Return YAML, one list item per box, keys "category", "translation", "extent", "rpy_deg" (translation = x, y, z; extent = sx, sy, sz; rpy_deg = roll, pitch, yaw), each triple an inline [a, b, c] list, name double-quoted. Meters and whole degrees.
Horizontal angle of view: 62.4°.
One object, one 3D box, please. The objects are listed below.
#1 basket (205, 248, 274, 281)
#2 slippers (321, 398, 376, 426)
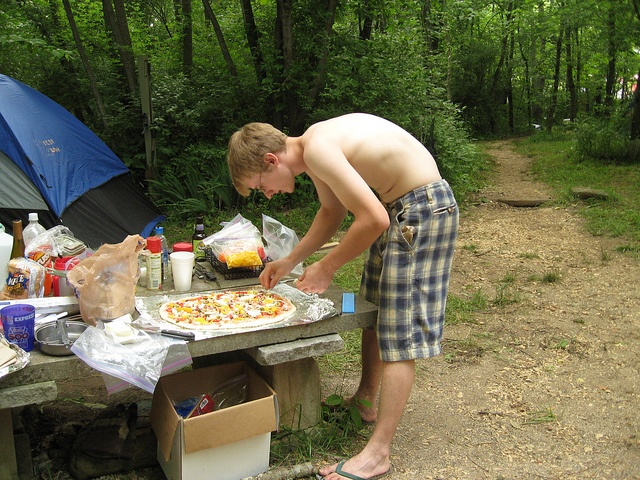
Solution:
- category: "basket"
  translation: [-0.686, 0.140, 4.170]
  extent: [0.504, 0.209, 0.553]
  rpy_deg: [-1, 11, -26]
- category: "slippers"
  translation: [0.187, 1.231, 3.906]
  extent: [0.261, 0.085, 0.253]
  rpy_deg: [20, 9, 26]
